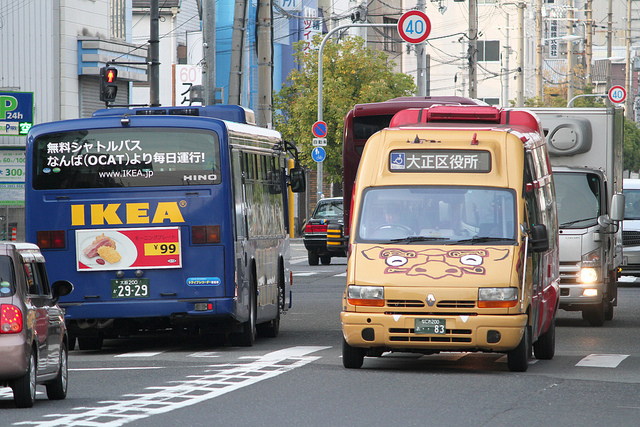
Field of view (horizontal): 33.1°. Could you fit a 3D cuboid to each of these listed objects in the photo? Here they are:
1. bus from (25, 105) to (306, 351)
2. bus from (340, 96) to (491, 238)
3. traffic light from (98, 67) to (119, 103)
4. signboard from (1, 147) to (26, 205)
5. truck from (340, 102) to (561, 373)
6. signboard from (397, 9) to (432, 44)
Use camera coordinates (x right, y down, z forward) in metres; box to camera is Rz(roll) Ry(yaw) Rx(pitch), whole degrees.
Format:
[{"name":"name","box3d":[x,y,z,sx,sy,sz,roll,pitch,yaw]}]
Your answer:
[{"name":"bus","box3d":[-2.626,0.127,21.127,3.404,2.907,6.387,0,0,8]},{"name":"bus","box3d":[3.476,-0.810,27.297,2.621,3.335,6.941,-3,-6,38]},{"name":"traffic light","box3d":[-5.975,-3.651,30.398,0.486,0.978,0.431,-3,2,-3]},{"name":"signboard","box3d":[-8.532,-1.023,29.926,0.694,1.470,1.052,-3,2,-15]},{"name":"truck","box3d":[2.286,0.432,17.557,2.719,2.798,4.803,-1,-1,11]},{"name":"signboard","box3d":[3.583,-7.190,41.256,1.499,1.333,0.125,-2,10,-18]}]
